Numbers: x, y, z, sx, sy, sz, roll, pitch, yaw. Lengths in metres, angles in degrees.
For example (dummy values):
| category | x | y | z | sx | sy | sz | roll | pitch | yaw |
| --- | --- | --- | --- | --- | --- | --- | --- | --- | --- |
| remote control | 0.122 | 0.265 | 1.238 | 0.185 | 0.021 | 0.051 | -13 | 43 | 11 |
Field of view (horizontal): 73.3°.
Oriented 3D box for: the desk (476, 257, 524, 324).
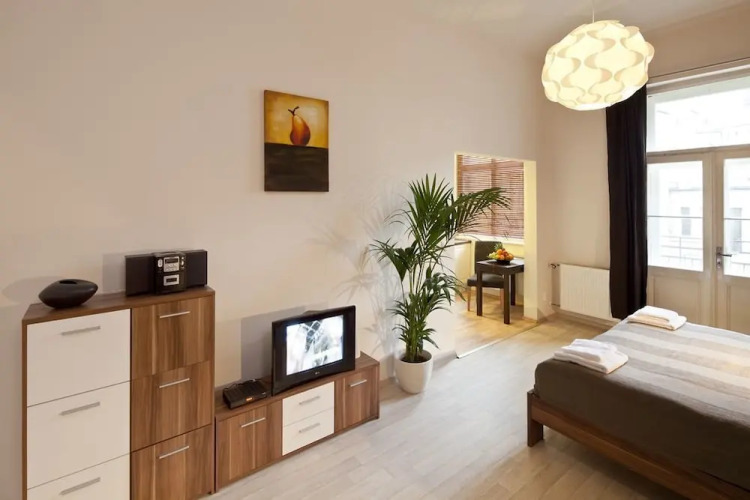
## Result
| category | x | y | z | sx | sy | sz | roll | pitch | yaw |
| --- | --- | --- | --- | --- | --- | --- | --- | --- | --- |
| desk | 1.618 | 0.516 | 7.141 | 0.467 | 0.550 | 0.576 | 21 | -4 | 4 |

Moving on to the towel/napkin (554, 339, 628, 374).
| category | x | y | z | sx | sy | sz | roll | pitch | yaw |
| --- | --- | --- | --- | --- | --- | --- | --- | --- | --- |
| towel/napkin | 1.856 | 0.900 | 4.308 | 0.319 | 0.089 | 0.336 | 9 | 15 | 41 |

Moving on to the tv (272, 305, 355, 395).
| category | x | y | z | sx | sy | sz | roll | pitch | yaw |
| --- | --- | --- | --- | --- | --- | --- | --- | --- | --- |
| tv | -0.548 | 0.918 | 4.444 | 0.742 | 0.604 | 0.236 | -5 | 7 | -34 |

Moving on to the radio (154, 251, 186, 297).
| category | x | y | z | sx | sy | sz | roll | pitch | yaw |
| --- | --- | --- | --- | --- | --- | --- | --- | --- | --- |
| radio | -1.630 | 0.178 | 3.963 | 0.272 | 0.404 | 0.283 | -1 | 0 | 43 |

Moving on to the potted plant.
| category | x | y | z | sx | sy | sz | roll | pitch | yaw |
| --- | --- | --- | --- | --- | --- | --- | --- | --- | --- |
| potted plant | 0.812 | 0.403 | 5.364 | 1.380 | 2.240 | 1.381 | 3 | 3 | 22 |

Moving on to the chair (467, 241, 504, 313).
| category | x | y | z | sx | sy | sz | roll | pitch | yaw |
| --- | --- | --- | --- | --- | --- | --- | --- | --- | --- |
| chair | 1.696 | 0.362 | 7.348 | 0.678 | 1.054 | 0.681 | -1 | 0 | -41 |

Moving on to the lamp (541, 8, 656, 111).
| category | x | y | z | sx | sy | sz | roll | pitch | yaw |
| --- | --- | --- | --- | --- | --- | --- | --- | --- | --- |
| lamp | 1.894 | -1.506 | 4.325 | 0.880 | 0.633 | 0.881 | 9 | 0 | -39 |
